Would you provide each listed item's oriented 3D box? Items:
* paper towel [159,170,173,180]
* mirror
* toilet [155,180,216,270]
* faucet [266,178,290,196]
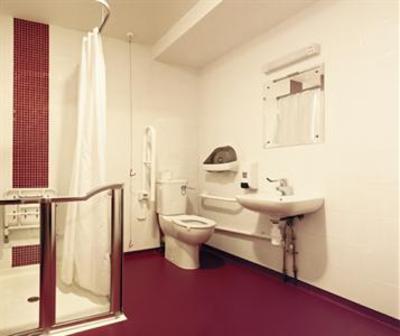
[{"bbox_3d":[-0.434,0.094,3.892,0.153,0.107,0.127,0,4,-1],"label":"paper towel"},{"bbox_3d":[0.936,-0.611,3.070,0.081,0.981,0.825,0,-1,-37],"label":"mirror"},{"bbox_3d":[-0.261,0.678,3.741,0.567,1.166,0.977,0,0,-37],"label":"toilet"},{"bbox_3d":[0.812,0.183,3.116,0.211,0.171,0.275,1,4,17],"label":"faucet"}]
